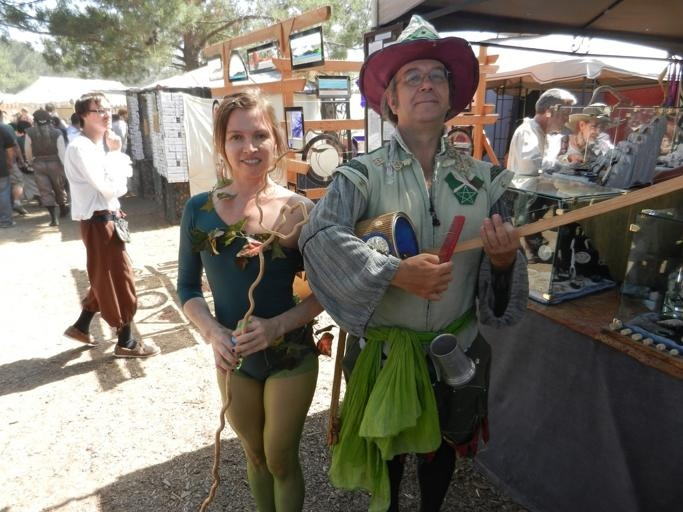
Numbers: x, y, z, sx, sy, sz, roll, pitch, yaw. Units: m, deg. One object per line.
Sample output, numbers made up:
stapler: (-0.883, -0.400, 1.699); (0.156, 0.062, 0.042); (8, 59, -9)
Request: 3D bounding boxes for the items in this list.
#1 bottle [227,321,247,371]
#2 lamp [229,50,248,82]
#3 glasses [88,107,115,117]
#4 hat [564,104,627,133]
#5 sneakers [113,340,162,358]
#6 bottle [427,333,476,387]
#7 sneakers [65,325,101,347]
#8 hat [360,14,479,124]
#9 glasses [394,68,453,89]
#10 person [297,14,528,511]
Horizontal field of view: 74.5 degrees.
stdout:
bottle: (-0.522, 0.477, 2.327); (0.103, 0.305, 0.137); (-7, 17, -14)
lamp: (-1.491, -2.745, 6.499); (0.176, 0.395, 0.761); (-9, 18, -21)
glasses: (-2.353, -1.410, 4.407); (0.082, 0.069, 0.200); (11, 22, 37)
hat: (1.774, -1.002, 3.237); (0.213, 0.095, 0.245); (3, -5, -8)
sneakers: (-2.171, 0.965, 4.759); (0.382, 0.144, 0.192); (0, 4, -24)
bottle: (0.534, 0.525, 2.239); (0.162, 0.181, 0.160); (-31, 25, 9)
sneakers: (-2.799, 0.887, 4.979); (0.432, 0.187, 0.162); (34, 16, -44)
hat: (0.476, -1.036, 2.589); (0.554, 0.463, 0.643); (-4, -28, 19)
glasses: (0.454, -0.917, 2.322); (0.290, 0.090, 0.132); (-8, 18, -17)
person: (0.361, 0.272, 2.468); (1.123, 3.029, 0.819); (-7, 18, -16)
